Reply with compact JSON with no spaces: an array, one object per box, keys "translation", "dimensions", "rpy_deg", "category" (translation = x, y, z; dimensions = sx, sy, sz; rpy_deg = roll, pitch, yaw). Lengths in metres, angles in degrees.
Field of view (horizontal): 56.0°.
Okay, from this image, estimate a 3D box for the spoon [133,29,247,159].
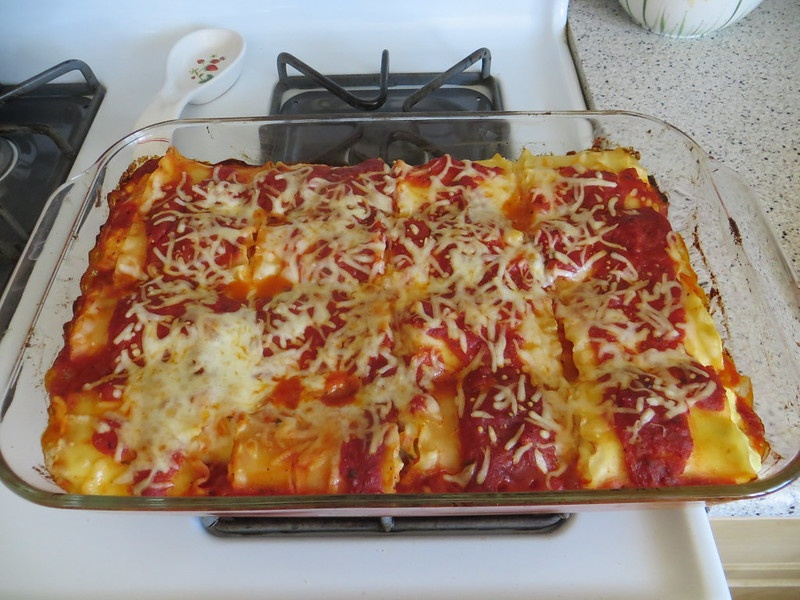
[{"translation":[-0.781,-0.871,2.986],"dimensions":[0.263,0.118,0.722],"rpy_deg":[23,65,5],"category":"spoon"}]
